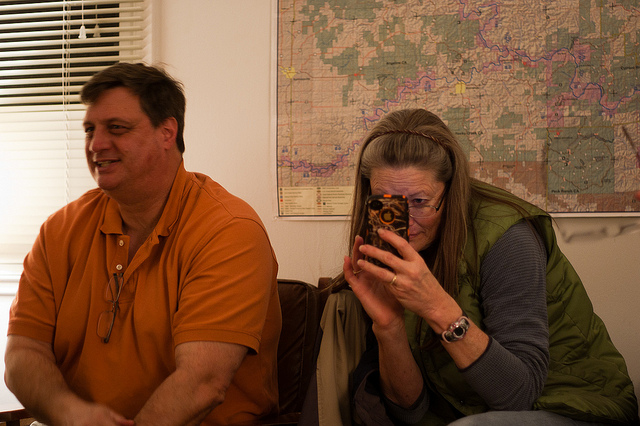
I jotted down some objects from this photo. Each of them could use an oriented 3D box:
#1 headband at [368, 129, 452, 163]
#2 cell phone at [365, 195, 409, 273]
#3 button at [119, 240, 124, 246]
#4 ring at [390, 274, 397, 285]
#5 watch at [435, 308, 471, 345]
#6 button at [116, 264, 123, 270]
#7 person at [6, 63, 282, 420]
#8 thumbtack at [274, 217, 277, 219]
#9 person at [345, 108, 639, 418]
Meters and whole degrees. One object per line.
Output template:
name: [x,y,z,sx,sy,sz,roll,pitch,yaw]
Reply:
headband: [0.352,-0.265,2.160,0.323,0.118,0.062,1,2,9]
cell phone: [0.240,0.047,1.977,0.147,0.224,0.094,1,2,2]
button: [-0.809,0.121,2.247,0.022,0.023,0.006,1,3,12]
ring: [0.260,0.232,1.945,0.005,0.024,0.024,25,43,4]
watch: [0.467,0.397,1.945,0.094,0.052,0.093,-38,-16,-16]
button: [-0.805,0.216,2.217,0.023,0.017,0.008,1,2,3]
person: [-0.730,0.083,2.217,1.058,1.404,0.489,1,3,10]
thumbtack: [-0.234,0.025,2.899,0.012,0.012,0.003,-4,3,11]
person: [0.722,0.227,2.224,0.960,1.250,0.837,7,-34,-30]
